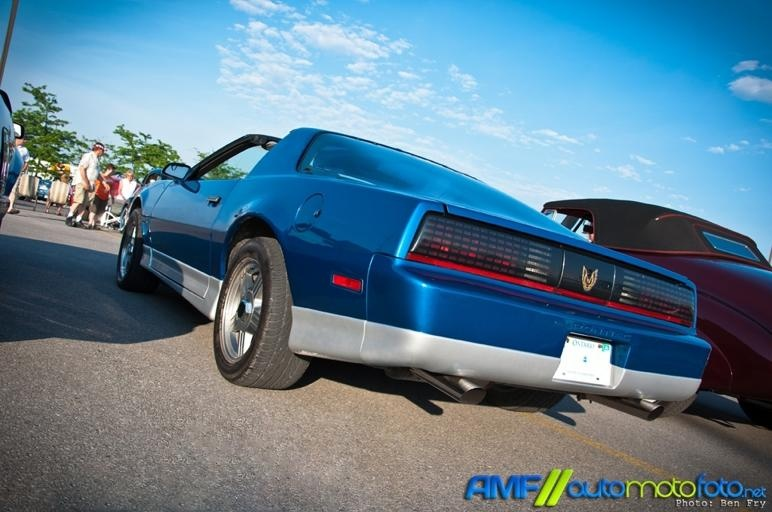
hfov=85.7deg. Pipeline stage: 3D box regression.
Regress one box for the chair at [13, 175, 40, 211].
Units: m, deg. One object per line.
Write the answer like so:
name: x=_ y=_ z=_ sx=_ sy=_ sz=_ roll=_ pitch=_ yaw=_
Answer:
chair: x=-14.393 y=-2.646 z=16.906 sx=0.643 sy=0.861 sz=0.993 roll=5 pitch=-2 yaw=-34
